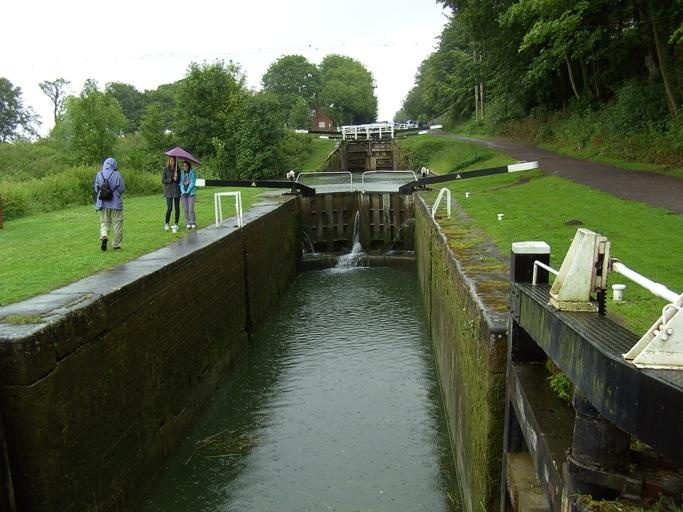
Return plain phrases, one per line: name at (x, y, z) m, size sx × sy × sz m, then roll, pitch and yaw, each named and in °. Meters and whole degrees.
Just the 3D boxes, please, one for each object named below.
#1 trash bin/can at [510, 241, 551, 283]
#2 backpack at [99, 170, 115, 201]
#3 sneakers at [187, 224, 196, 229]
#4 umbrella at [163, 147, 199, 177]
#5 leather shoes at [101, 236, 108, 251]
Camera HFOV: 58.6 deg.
trash bin/can at (1.754, 0.036, 5.856) m, size 0.424 × 0.490 × 0.346 m, roll 0°, pitch 1°, yaw 7°
backpack at (-4.029, -1.171, 10.350) m, size 0.234 × 0.445 × 0.161 m, roll -6°, pitch 14°, yaw -11°
sneakers at (-3.266, -0.669, 13.224) m, size 0.148 × 0.119 × 0.198 m, roll 11°, pitch 13°, yaw 28°
umbrella at (-3.321, -2.054, 12.742) m, size 0.531 × 0.206 × 0.553 m, roll 15°, pitch -7°, yaw 27°
leather shoes at (-4.215, -0.201, 10.830) m, size 0.114 × 0.334 × 0.137 m, roll 4°, pitch 24°, yaw -21°
